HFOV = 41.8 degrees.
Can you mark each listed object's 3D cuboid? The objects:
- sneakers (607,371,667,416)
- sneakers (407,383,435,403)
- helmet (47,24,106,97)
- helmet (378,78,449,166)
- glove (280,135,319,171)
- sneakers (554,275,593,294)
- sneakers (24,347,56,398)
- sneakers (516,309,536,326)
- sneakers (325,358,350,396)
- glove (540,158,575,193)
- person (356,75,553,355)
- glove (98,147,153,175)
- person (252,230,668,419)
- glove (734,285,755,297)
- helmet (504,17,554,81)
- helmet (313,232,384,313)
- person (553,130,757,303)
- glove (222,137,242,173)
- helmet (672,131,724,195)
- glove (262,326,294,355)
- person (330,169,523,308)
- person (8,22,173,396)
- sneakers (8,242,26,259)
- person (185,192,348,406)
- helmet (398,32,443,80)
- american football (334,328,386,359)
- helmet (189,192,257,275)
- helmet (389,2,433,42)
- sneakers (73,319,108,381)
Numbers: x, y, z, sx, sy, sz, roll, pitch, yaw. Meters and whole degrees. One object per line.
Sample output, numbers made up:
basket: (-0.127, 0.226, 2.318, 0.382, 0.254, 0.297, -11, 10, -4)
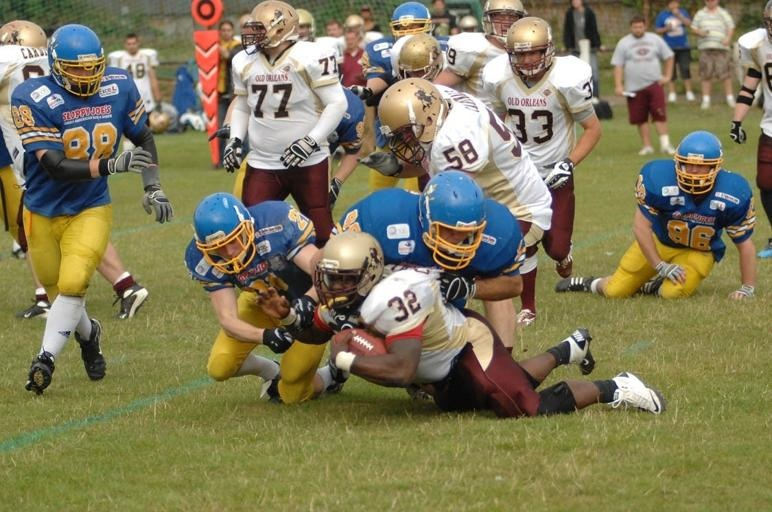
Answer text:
sneakers: (1.370, 0.752, 5.626, 0.390, 0.137, 0.182, 24, 36, 23)
sneakers: (0.198, 0.802, 6.049, 0.110, 0.058, 0.149, 6, -5, 44)
helmet: (-1.919, -1.244, 6.237, 0.419, 0.324, 0.328, 35, 37, 29)
helmet: (0.153, -0.854, 6.050, 0.450, 0.450, 0.370, -9, 14, -12)
glove: (-0.616, -0.728, 7.092, 0.272, 0.158, 0.081, -39, 6, -9)
sneakers: (1.413, 0.206, 7.668, 0.314, 0.126, 0.108, 6, 18, 1)
sneakers: (-2.065, 0.690, 6.024, 0.169, 0.115, 0.262, 38, 21, -34)
sneakers: (0.967, 0.418, 7.079, 0.111, 0.052, 0.120, 5, 8, 24)
sneakers: (-0.310, 0.735, 6.270, 0.108, 0.134, 0.307, -2, 19, -4)
glove: (1.182, -0.567, 6.974, 0.227, 0.170, 0.075, -50, 13, -14)
person: (0.560, -0.305, 6.441, 1.137, 1.656, 0.700, -11, 21, 14)
glove: (-1.568, -0.549, 6.087, 0.228, 0.084, 0.173, -15, 40, -24)
person: (0.417, 0.431, 5.770, 2.232, 0.931, 1.041, 1, 4, -6)
glove: (2.578, 0.242, 7.298, 0.179, 0.084, 0.147, 0, 9, -1)
helmet: (0.984, -1.431, 6.969, 0.337, 0.422, 0.288, 0, 9, 2)
helmet: (-0.191, 0.059, 5.498, 0.331, 0.342, 0.453, 5, 20, 29)
person: (2.037, -0.263, 7.599, 1.424, 1.259, 0.797, 5, 12, 24)
glove: (-1.108, -0.735, 7.297, 0.142, 0.250, 0.267, -1, 9, -9)
helmet: (2.261, -0.720, 7.316, 0.356, 0.363, 0.447, 8, 40, 23)
glove: (-0.609, 0.459, 5.701, 0.164, 0.145, 0.121, -6, 45, -10)
person: (0.187, -0.142, 5.858, 0.704, 0.471, 0.918, 27, -5, -30)
person: (-1.841, -0.328, 6.287, 0.848, 2.222, 0.763, -3, 9, -19)
sneakers: (-3.146, -0.053, 8.636, 0.185, 0.125, 0.061, 14, 34, 19)
person: (-0.655, 0.315, 5.928, 0.895, 1.414, 1.069, -7, 12, 0)
helmet: (0.247, -1.507, 7.665, 0.342, 0.348, 0.274, 0, 9, 0)
american football: (-0.146, 0.453, 5.466, 0.241, 0.082, 0.133, 21, 54, 6)
helmet: (-0.920, -0.161, 5.687, 0.332, 0.347, 0.442, -29, 33, 3)
helmet: (0.161, -2.005, 8.735, 0.319, 0.321, 0.423, -8, 7, 15)
sneakers: (-1.823, 0.592, 6.378, 0.142, 0.407, 0.187, -10, 11, 8)
